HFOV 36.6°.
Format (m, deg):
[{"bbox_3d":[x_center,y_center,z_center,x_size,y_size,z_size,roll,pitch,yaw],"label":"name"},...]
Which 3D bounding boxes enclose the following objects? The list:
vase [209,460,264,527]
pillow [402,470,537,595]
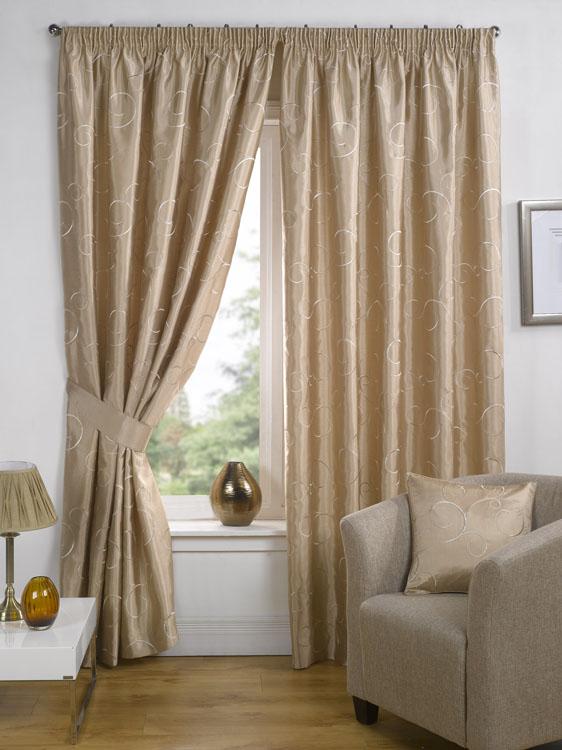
[{"bbox_3d":[-0.169,0.447,3.294,0.193,0.279,0.222,-1,1,19],"label":"vase"},{"bbox_3d":[0.558,0.489,2.546,0.280,0.325,0.118,0,-28,9],"label":"pillow"}]
